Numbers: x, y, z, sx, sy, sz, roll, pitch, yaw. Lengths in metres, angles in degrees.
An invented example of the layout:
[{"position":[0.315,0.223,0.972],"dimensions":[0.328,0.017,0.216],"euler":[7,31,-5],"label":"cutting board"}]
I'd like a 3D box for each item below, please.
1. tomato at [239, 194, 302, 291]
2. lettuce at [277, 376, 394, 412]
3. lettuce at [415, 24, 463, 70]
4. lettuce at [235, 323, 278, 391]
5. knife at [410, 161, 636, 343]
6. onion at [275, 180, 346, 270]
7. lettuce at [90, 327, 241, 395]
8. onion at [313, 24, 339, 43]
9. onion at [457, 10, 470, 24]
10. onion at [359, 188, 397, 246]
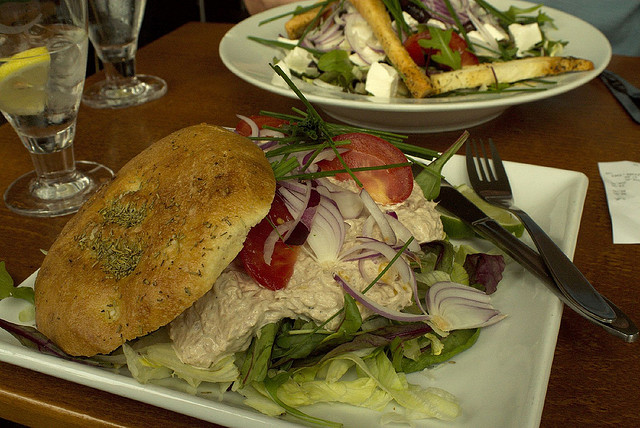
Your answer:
[{"position":[-0.111,0.074,1.269],"dimensions":[0.145,0.042,0.227],"euler":[22,31,-6],"label":"tomato"},{"position":[0.028,0.405,1.224],"dimensions":[0.256,0.059,0.087],"euler":[5,30,0],"label":"lettuce"},{"position":[0.429,-0.592,1.945],"dimensions":[0.176,0.074,0.147],"euler":[24,49,13],"label":"lettuce"},{"position":[-0.135,0.309,1.228],"dimensions":[0.038,0.120,0.122],"euler":[31,63,-23],"label":"lettuce"},{"position":[0.487,0.105,1.361],"dimensions":[0.073,0.067,0.637],"euler":[-43,54,-5],"label":"knife"},{"position":[-0.022,0.015,1.302],"dimensions":[0.141,0.044,0.212],"euler":[1,59,-31],"label":"onion"},{"position":[-0.301,0.313,1.216],"dimensions":[0.264,0.063,0.159],"euler":[5,48,-5],"label":"lettuce"},{"position":[0.023,-0.706,2.167],"dimensions":[0.096,0.069,0.030],"euler":[-19,53,-23],"label":"onion"},{"position":[0.554,-0.772,2.163],"dimensions":[0.052,0.019,0.049],"euler":[-6,79,12],"label":"onion"},{"position":[0.121,-0.005,1.342],"dimensions":[0.047,0.042,0.167],"euler":[-30,62,2],"label":"onion"}]
